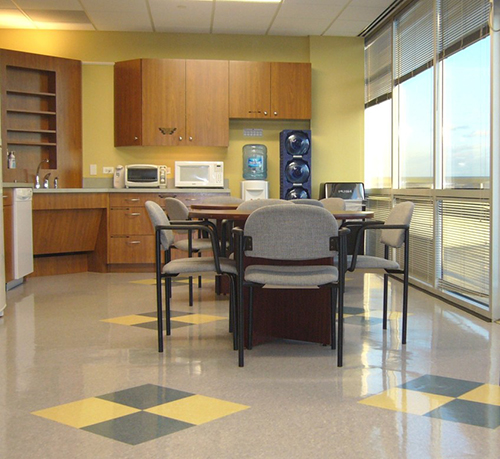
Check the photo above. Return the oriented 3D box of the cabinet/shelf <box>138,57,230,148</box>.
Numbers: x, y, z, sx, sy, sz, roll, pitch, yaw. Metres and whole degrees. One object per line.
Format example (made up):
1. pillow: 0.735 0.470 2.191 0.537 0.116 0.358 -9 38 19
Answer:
1. cabinet/shelf: -0.697 -1.644 6.242 1.355 1.087 0.493 7 14 28

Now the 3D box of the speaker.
1. speaker: 0.606 -0.840 6.080 0.351 0.877 0.197 0 7 12

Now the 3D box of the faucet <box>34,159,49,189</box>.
1. faucet: -2.604 -0.717 5.935 0.191 0.368 0.431 -4 7 -23

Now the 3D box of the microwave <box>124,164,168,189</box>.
1. microwave: -1.320 -0.679 6.082 0.518 0.269 0.319 0 -2 -10

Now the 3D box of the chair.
1. chair: 0.072 0.272 2.829 1.416 0.889 0.857 3 8 32

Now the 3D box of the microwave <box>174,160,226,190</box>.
1. microwave: -0.642 -0.696 6.029 0.555 0.271 0.354 0 -2 -3

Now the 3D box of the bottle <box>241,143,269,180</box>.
1. bottle: 0.064 -0.898 6.608 0.422 0.534 0.348 2 -5 -18

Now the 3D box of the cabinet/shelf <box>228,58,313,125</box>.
1. cabinet/shelf: 0.367 -1.895 6.299 1.249 0.666 0.412 10 22 29

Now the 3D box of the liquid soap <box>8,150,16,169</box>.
1. liquid soap: -2.937 -0.867 5.858 0.089 0.227 0.215 -4 7 -24

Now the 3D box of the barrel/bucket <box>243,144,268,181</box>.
1. barrel/bucket: 0.072 -0.870 6.598 0.410 0.527 0.335 3 -10 -12
